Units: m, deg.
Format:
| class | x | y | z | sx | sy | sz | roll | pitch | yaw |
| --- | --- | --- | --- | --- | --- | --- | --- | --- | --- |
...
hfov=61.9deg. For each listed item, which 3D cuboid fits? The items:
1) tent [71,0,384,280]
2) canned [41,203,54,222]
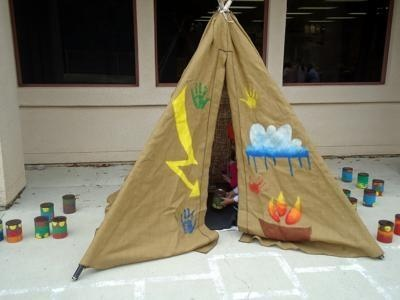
| class | x | y | z | sx | sy | sz | roll | pitch | yaw |
| --- | --- | --- | --- | --- | --- | --- | --- | --- | --- |
| tent | 0.207 | 0.042 | 5.176 | 3.378 | 3.486 | 3.165 | -2 | 19 | -6 |
| canned | -2.105 | 0.869 | 4.588 | 0.148 | 0.195 | 0.165 | 12 | 20 | 15 |
